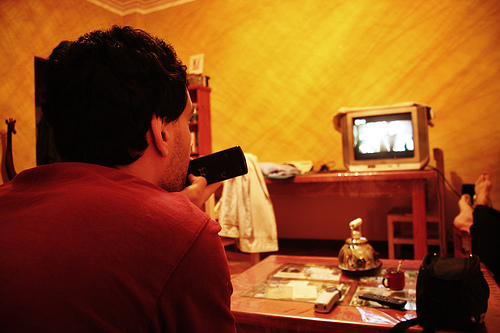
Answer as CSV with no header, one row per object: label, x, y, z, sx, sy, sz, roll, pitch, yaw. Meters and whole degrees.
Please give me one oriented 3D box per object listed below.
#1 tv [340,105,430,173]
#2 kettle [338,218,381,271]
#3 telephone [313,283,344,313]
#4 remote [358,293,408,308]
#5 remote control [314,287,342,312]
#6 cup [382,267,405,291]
tv,1.085,-0.171,3.047,0.796,0.589,0.464,-2,-3,23
kettle,0.467,0.328,1.671,0.194,0.217,0.208,-3,10,19
telephone,0.270,0.462,1.348,0.071,0.046,0.129,-6,1,33
remote,0.460,0.453,1.331,0.167,0.027,0.049,4,4,28
remote control,0.270,0.463,1.349,0.072,0.048,0.129,-7,0,35
cup,0.546,0.439,1.454,0.094,0.065,0.060,-4,-23,16
